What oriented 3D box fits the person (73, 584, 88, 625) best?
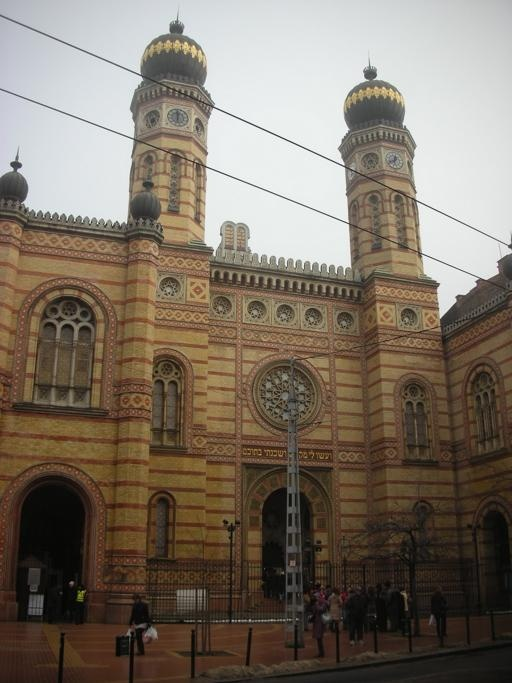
[{"bbox_3d":[-4.266,6.395,17.064,0.286,0.867,0.673,4,-19,-11],"label":"person"}]
